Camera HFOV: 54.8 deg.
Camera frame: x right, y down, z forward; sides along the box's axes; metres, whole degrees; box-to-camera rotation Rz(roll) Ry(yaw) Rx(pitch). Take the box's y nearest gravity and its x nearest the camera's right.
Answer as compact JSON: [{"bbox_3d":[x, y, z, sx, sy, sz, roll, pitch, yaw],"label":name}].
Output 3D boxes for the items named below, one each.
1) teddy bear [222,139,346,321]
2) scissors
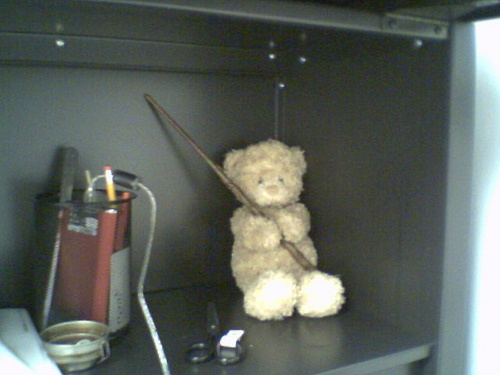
[{"bbox_3d":[0.063,0.078,1.194,0.315,0.396,0.351,-2,12,-13],"label":"teddy bear"},{"bbox_3d":[-0.073,0.324,1.025,0.084,0.068,0.092,1,2,21],"label":"scissors"}]
